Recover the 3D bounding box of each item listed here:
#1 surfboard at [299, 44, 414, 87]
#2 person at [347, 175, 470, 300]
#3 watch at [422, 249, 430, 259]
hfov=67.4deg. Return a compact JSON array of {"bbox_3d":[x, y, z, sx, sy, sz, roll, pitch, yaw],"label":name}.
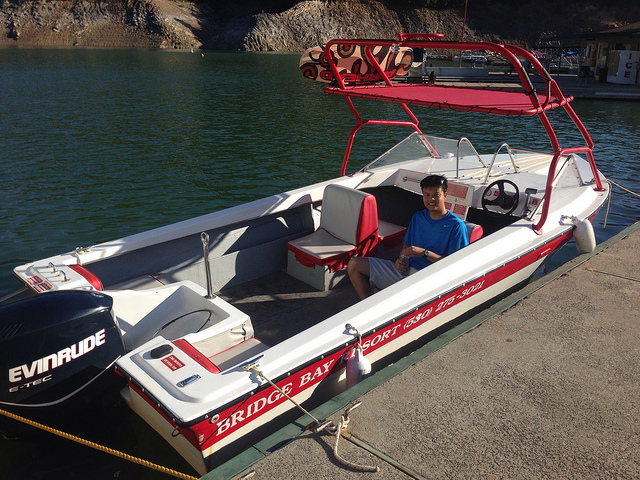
[{"bbox_3d":[0.537,-2.453,6.660,2.090,0.538,0.220,-14,20,-35],"label":"surfboard"},{"bbox_3d":[0.915,-0.005,4.779,1.123,1.255,0.504,-10,32,-14],"label":"person"},{"bbox_3d":[1.054,0.140,4.732,0.031,0.060,0.073,25,1,-20],"label":"watch"}]
